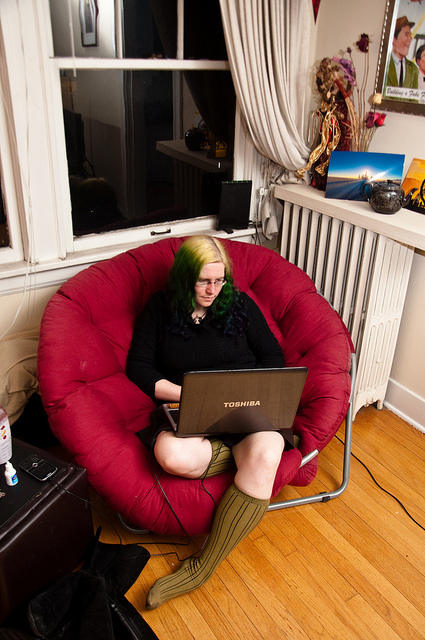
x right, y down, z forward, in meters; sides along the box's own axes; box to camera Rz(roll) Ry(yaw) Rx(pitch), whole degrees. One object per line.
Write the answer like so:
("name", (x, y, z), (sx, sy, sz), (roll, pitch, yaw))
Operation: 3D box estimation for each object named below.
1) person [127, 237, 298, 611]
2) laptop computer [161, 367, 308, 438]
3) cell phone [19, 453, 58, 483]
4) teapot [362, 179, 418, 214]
("person", (-0.014, 0.215, 1.298), (0.560, 0.259, 1.070), (8, 57, -10))
("laptop computer", (0.075, 0.211, 1.108), (0.323, 0.273, 0.092), (-3, 27, -13))
("cell phone", (-0.457, 0.384, 1.146), (0.116, 0.024, 0.059), (21, 32, 28))
("teapot", (0.715, -0.490, 1.743), (0.202, 0.110, 0.187), (1, 28, -8))
